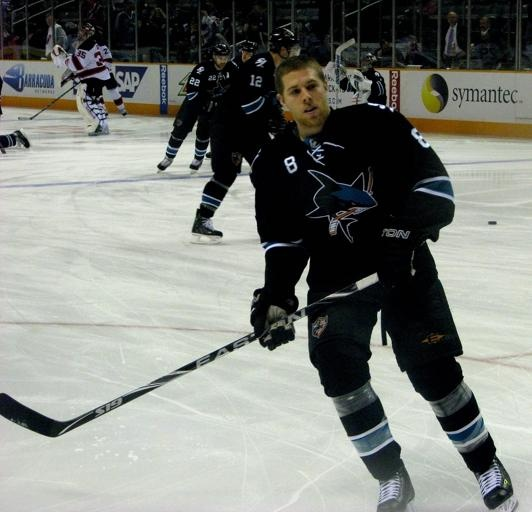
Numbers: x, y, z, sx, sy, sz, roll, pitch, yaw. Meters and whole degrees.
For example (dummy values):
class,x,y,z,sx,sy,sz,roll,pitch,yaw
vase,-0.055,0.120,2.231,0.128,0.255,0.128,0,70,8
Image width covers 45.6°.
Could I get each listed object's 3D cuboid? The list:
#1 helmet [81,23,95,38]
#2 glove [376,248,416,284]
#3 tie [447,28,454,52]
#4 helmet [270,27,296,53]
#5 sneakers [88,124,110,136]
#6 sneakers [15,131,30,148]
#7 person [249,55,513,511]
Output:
class,x,y,z,sx,sy,sz,roll,pitch,yaw
helmet,-3.258,-4.119,11.585,0.236,0.295,0.296,-3,8,-13
glove,0.284,0.023,1.374,0.108,0.063,0.068,-3,-1,-9
tie,3.358,-3.954,11.561,0.040,0.411,0.139,-9,12,-39
helmet,0.106,-1.321,3.835,0.163,0.158,0.170,-1,8,1
sneakers,-3.086,-2.336,11.797,0.325,0.140,0.275,-3,6,-22
sneakers,-3.686,-1.793,9.596,0.160,0.323,0.110,-21,-31,-20
person,0.232,0.044,1.499,0.642,1.076,0.422,7,12,44
